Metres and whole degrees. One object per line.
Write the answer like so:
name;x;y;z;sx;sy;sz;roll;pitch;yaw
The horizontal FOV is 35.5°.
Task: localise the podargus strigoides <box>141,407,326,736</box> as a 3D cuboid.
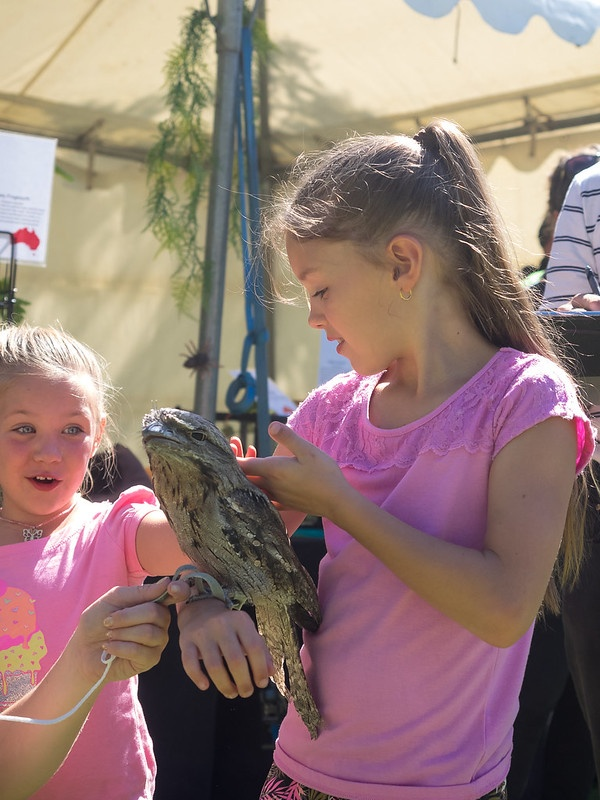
podargus strigoides;-0.107;0.299;1.569;0.295;0.568;0.129;-1;2;-9
